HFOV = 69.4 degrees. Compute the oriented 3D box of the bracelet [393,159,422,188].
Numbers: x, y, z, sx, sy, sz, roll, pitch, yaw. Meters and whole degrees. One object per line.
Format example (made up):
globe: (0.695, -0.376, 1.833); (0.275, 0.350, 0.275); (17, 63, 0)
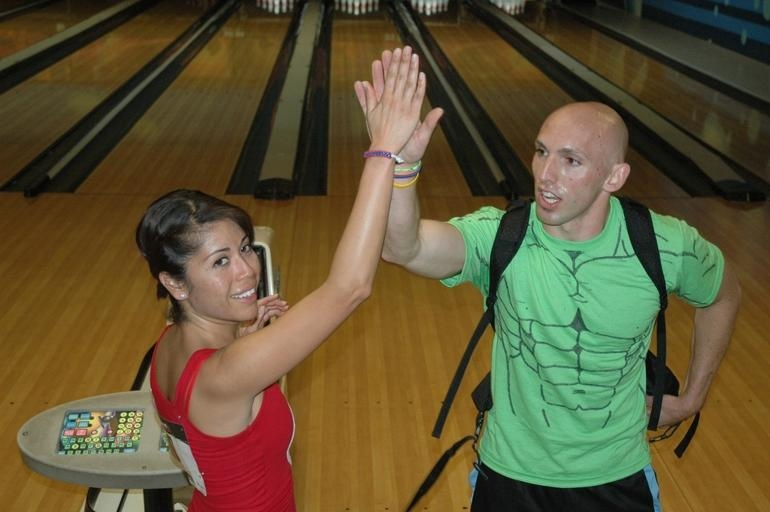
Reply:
bracelet: (0.059, -0.226, 1.582); (0.071, 0.027, 0.073); (-14, 16, 22)
